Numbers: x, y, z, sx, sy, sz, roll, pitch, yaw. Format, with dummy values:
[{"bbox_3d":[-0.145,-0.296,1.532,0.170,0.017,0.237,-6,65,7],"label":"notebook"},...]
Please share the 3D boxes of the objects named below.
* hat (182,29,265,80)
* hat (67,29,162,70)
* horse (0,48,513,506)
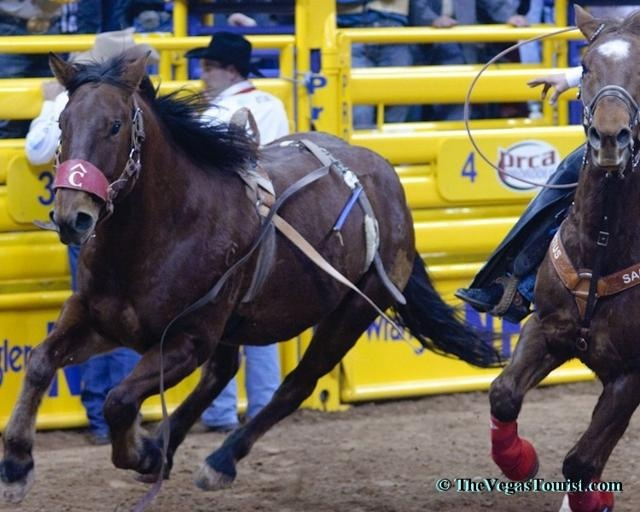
[{"bbox_3d":[-0.503,-1.101,8.933,0.324,0.124,0.236,20,7,-11],"label":"hat"},{"bbox_3d":[-1.010,-1.029,8.064,0.575,0.202,0.634,0,-2,-7],"label":"hat"},{"bbox_3d":[-0.404,0.102,7.873,0.830,2.050,2.255,-10,-12,44],"label":"horse"}]
